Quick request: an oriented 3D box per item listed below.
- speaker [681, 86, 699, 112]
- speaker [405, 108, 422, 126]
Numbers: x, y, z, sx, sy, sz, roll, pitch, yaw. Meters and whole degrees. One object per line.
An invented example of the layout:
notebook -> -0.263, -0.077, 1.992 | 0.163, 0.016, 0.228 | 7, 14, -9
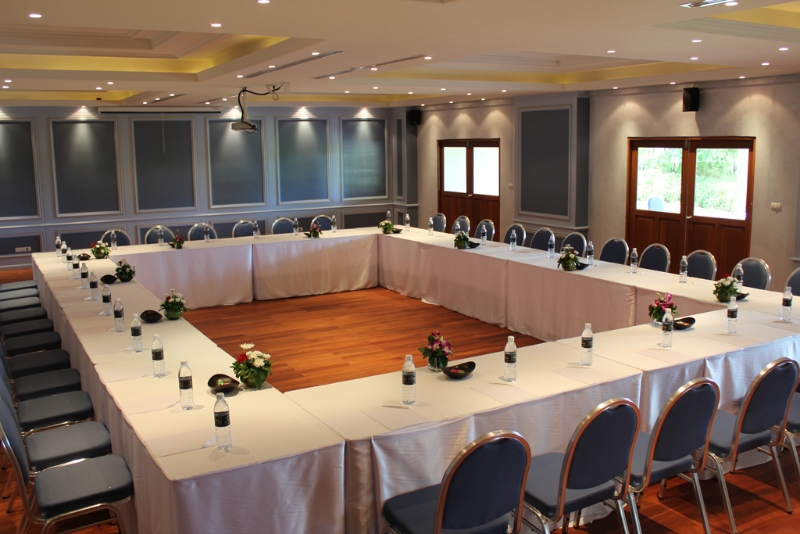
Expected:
speaker -> 5.120, -2.909, 9.672 | 0.256, 0.424, 0.184 | -8, 12, -27
speaker -> 0.451, -4.063, 15.216 | 0.514, 0.733, 0.390 | 2, 14, 4
